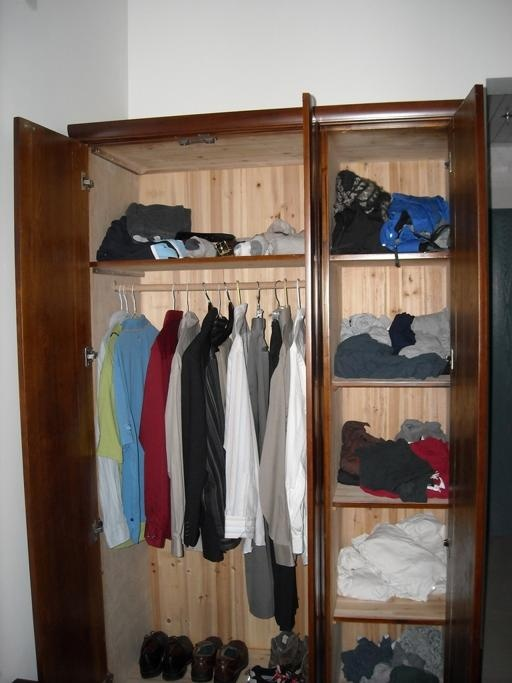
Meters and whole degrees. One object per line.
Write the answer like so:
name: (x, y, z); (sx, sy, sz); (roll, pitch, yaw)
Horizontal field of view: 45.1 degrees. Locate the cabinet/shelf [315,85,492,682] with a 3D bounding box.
cabinet/shelf: (0.512, 0.219, 2.169); (0.578, 2.104, 0.818); (-1, 3, 21)
